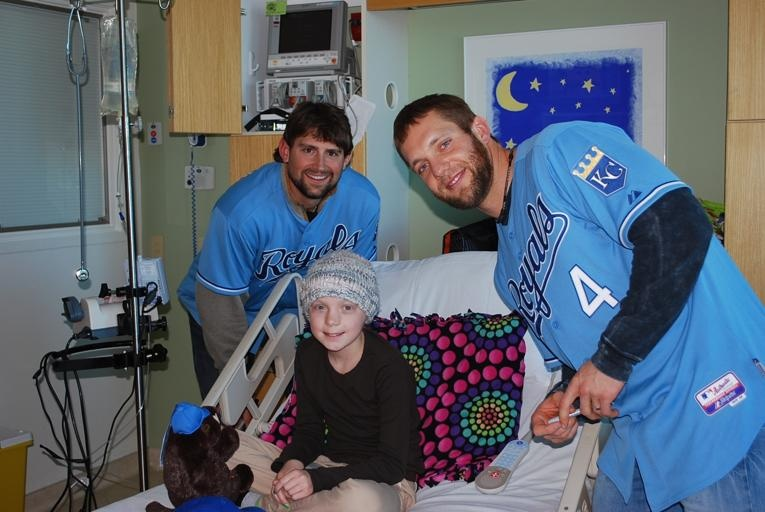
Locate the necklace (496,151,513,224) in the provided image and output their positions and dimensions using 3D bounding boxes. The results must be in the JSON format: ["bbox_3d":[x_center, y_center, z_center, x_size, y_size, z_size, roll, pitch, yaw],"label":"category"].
[{"bbox_3d":[0.416,-0.209,1.992,0.040,0.179,0.171,8,50,14],"label":"necklace"}]

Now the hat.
[{"bbox_3d":[-0.155,0.115,2.334,0.253,0.250,0.268,-4,-3,10],"label":"hat"}]
